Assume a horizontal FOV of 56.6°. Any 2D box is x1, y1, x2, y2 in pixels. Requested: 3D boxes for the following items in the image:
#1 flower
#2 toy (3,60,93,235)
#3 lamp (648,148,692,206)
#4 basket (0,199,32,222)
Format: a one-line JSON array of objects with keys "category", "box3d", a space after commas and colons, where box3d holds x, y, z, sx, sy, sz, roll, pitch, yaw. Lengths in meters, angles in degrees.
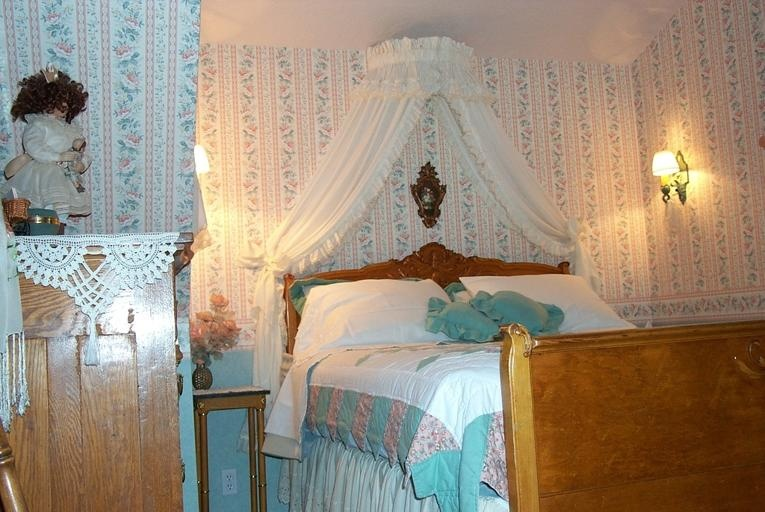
[{"category": "flower", "box3d": [-1.005, 0.508, 4.741, 0.397, 0.557, 0.426, -8, -12, 20]}, {"category": "toy", "box3d": [-1.396, -0.473, 2.937, 0.355, 0.667, 0.444, 1, -5, -25]}, {"category": "lamp", "box3d": [2.104, -0.569, 5.357, 0.231, 0.400, 0.378, 0, -5, -12]}, {"category": "basket", "box3d": [-1.334, -0.164, 2.586, 0.092, 0.088, 0.098, 2, -7, -34]}]
